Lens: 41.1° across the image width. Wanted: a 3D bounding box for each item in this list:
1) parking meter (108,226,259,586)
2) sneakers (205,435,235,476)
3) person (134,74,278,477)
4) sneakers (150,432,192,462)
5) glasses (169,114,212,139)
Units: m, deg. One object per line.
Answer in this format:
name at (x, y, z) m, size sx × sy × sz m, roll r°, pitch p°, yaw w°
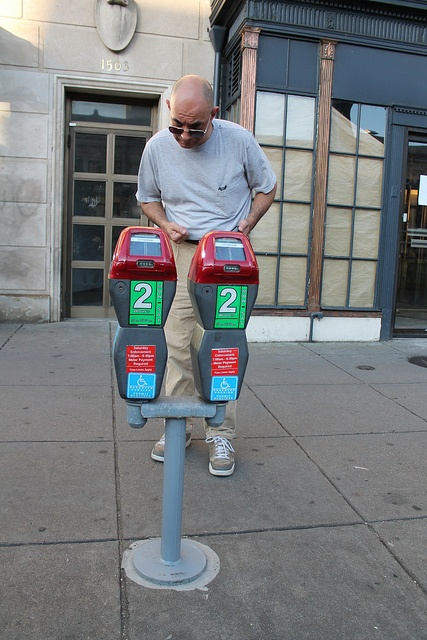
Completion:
parking meter at (-0.105, 0.264, 1.780) m, size 0.432 × 1.078 × 0.255 m, roll 2°, pitch 9°, yaw -5°
sneakers at (0.028, 0.634, 2.660) m, size 0.119 × 0.126 × 0.297 m, roll -1°, pitch -8°, yaw -4°
person at (-0.048, -0.214, 2.584) m, size 0.580 × 1.631 × 0.469 m, roll 3°, pitch 26°, yaw 8°
sneakers at (-0.202, 0.613, 2.799) m, size 0.108 × 0.132 × 0.317 m, roll -3°, pitch -6°, yaw 15°
glasses at (-0.099, -0.687, 2.074) m, size 0.134 × 0.044 × 0.074 m, roll 6°, pitch 9°, yaw 17°
